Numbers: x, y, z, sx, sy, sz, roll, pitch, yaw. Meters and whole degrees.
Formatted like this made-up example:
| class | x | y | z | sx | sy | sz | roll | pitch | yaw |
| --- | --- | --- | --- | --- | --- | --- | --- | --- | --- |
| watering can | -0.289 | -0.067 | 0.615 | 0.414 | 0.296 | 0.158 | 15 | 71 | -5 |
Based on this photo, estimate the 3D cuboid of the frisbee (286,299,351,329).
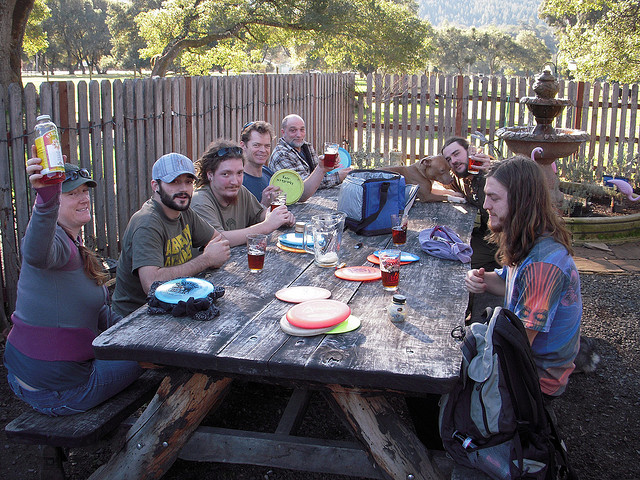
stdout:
| class | x | y | z | sx | sy | sz | roll | pitch | yaw |
| --- | --- | --- | --- | --- | --- | --- | --- | --- | --- |
| frisbee | -0.010 | 0.316 | 2.223 | 0.269 | 0.110 | 0.352 | 7 | 15 | 30 |

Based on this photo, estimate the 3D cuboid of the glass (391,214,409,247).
| class | x | y | z | sx | sy | sz | roll | pitch | yaw |
| --- | --- | --- | --- | --- | --- | --- | --- | --- | --- |
| glass | 0.600 | -0.070 | 3.306 | 0.144 | 0.241 | 0.158 | -1 | 3 | 12 |

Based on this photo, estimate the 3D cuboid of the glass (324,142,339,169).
| class | x | y | z | sx | sy | sz | roll | pitch | yaw |
| --- | --- | --- | --- | --- | --- | --- | --- | --- | --- |
| glass | 0.101 | -0.807 | 4.297 | 0.123 | 0.232 | 0.267 | 0 | 13 | 2 |

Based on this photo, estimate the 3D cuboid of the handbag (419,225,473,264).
| class | x | y | z | sx | sy | sz | roll | pitch | yaw |
| --- | --- | --- | --- | --- | --- | --- | --- | --- | --- |
| handbag | 0.929 | 0.031 | 3.262 | 0.315 | 0.150 | 0.445 | -14 | 31 | -22 |

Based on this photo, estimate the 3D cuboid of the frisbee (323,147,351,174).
| class | x | y | z | sx | sy | sz | roll | pitch | yaw |
| --- | --- | --- | --- | --- | --- | --- | --- | --- | --- |
| frisbee | 0.297 | -1.078 | 5.769 | 0.396 | 0.421 | 0.065 | -7 | -2 | -32 |

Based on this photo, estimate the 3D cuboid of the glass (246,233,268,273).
| class | x | y | z | sx | sy | sz | roll | pitch | yaw |
| --- | --- | --- | --- | --- | --- | --- | --- | --- | --- |
| glass | -0.416 | 0.100 | 2.871 | 0.143 | 0.225 | 0.142 | 0 | -2 | 45 |

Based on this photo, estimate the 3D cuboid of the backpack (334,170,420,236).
| class | x | y | z | sx | sy | sz | roll | pitch | yaw |
| --- | --- | --- | --- | --- | --- | --- | --- | --- | --- |
| backpack | 0.501 | -0.340 | 3.673 | 0.587 | 0.431 | 0.485 | -6 | 18 | -19 |

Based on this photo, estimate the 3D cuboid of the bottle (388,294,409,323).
| class | x | y | z | sx | sy | sz | roll | pitch | yaw |
| --- | --- | --- | --- | --- | --- | --- | --- | --- | --- |
| bottle | 0.394 | 0.355 | 2.291 | 0.112 | 0.130 | 0.118 | 0 | 6 | -9 |

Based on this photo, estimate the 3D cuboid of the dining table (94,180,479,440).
| class | x | y | z | sx | sy | sz | roll | pitch | yaw |
| --- | --- | --- | --- | --- | --- | --- | --- | --- | --- |
| dining table | 0.031 | 0.221 | 2.732 | 1.676 | 0.647 | 2.113 | 5 | 14 | 18 |

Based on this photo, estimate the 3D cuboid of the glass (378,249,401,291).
| class | x | y | z | sx | sy | sz | roll | pitch | yaw |
| --- | --- | --- | --- | --- | --- | --- | --- | --- | --- |
| glass | 0.403 | 0.181 | 2.559 | 0.152 | 0.253 | 0.151 | 6 | 19 | 29 |
